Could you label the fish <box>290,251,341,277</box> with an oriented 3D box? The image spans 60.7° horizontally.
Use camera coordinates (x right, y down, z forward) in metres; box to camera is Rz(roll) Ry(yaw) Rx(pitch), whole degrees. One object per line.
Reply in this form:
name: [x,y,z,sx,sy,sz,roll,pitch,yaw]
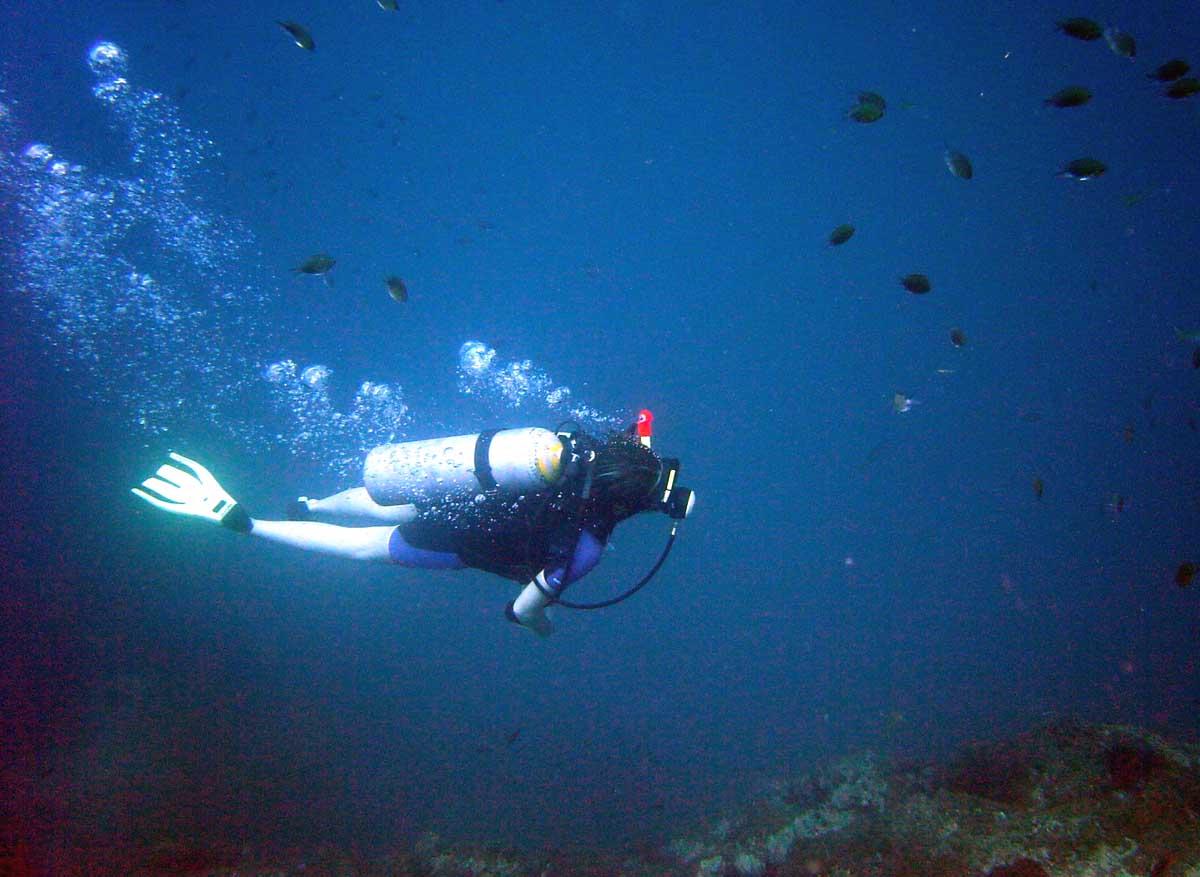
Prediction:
fish: [-4.172,-2.501,15.082,0.779,0.538,0.178,7,-16,42]
